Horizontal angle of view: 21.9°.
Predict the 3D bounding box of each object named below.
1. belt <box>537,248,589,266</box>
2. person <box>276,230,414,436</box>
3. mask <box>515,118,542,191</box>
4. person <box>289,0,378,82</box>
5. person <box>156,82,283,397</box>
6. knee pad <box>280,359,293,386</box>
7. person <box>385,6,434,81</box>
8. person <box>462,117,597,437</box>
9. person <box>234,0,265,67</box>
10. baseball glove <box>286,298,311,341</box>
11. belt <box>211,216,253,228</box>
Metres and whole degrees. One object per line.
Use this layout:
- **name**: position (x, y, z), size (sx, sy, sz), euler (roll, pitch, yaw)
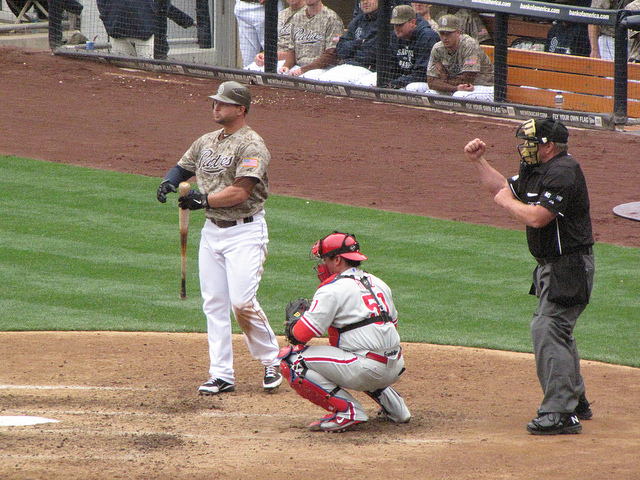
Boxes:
- **belt**: position (2.370, 0.148, 15.847), size (0.295, 0.068, 0.265), euler (-17, -1, 11)
- **person**: position (0.220, 0.893, 15.880), size (1.188, 1.923, 0.512), euler (0, 12, -2)
- **mask**: position (2.012, -0.832, 15.984), size (0.199, 0.685, 0.289), euler (-3, 12, -11)
- **person**: position (0.381, -3.100, 25.554), size (1.268, 1.254, 0.392), euler (8, 14, 39)
- **person**: position (-0.955, -0.039, 16.603), size (0.902, 3.100, 0.944), euler (-6, 13, -26)
- **knee pad**: position (-0.310, 1.261, 15.966), size (0.141, 0.231, 0.097), euler (-3, -6, -1)
- **person**: position (1.342, -2.974, 24.793), size (0.571, 1.099, 0.529), euler (-1, 12, -4)
- **person**: position (2.186, 0.332, 15.929), size (0.882, 3.007, 1.133), euler (-3, 12, -14)
- **person**: position (-1.104, -3.419, 27.059), size (0.259, 1.066, 0.735), euler (-7, 13, -30)
- **baseball glove**: position (-0.211, 0.740, 15.943), size (0.335, 0.326, 0.149), euler (13, -22, -25)
- **belt**: position (-0.865, -0.193, 16.505), size (0.408, 0.114, 0.082), euler (0, 11, -2)
